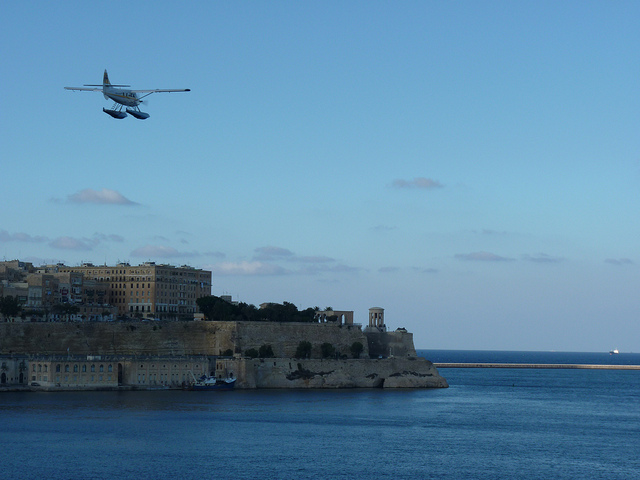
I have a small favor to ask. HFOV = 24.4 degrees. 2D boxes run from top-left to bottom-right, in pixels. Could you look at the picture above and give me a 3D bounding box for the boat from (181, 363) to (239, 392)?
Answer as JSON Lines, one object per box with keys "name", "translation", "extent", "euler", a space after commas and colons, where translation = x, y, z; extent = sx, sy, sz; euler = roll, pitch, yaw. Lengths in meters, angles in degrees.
{"name": "boat", "translation": [-10.789, 13.863, 145.904], "extent": [5.301, 1.994, 1.753], "euler": [-1, 3, 4]}
